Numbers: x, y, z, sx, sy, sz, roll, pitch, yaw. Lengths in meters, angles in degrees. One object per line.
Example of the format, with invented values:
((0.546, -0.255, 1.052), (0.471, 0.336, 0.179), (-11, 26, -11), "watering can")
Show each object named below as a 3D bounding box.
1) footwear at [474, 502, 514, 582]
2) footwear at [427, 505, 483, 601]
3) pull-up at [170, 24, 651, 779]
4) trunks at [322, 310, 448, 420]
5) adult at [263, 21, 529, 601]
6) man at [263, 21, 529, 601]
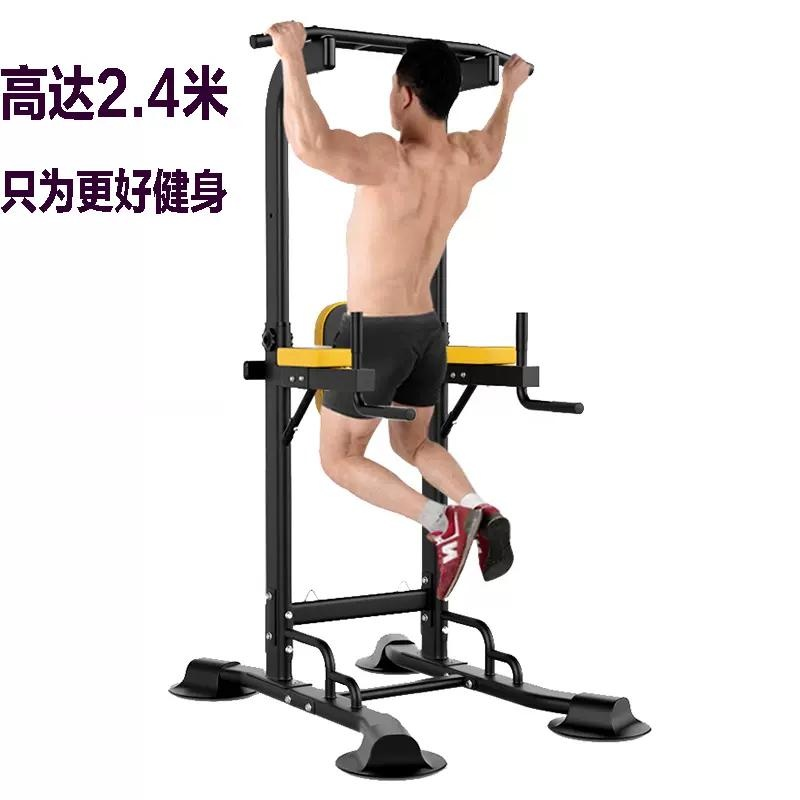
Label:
((0.283, 0.433, 3.261), (0.103, 0.238, 0.104), (-1, 4, 4), "footwear")
((0.168, 0.433, 3.363), (0.138, 0.330, 0.110), (13, 34, 1), "footwear")
((-0.036, -0.066, 3.585), (1.376, 2.229, 1.516), (-1, 0, -18), "pull-up")
((-0.011, -0.127, 3.449), (0.371, 0.289, 0.249), (-3, 9, -36), "trunks")
((0.065, -0.236, 3.377), (0.626, 1.769, 0.891), (3, 6, 41), "adult")
((0.013, -0.241, 3.433), (0.678, 1.769, 0.793), (-1, 4, 6), "man")
